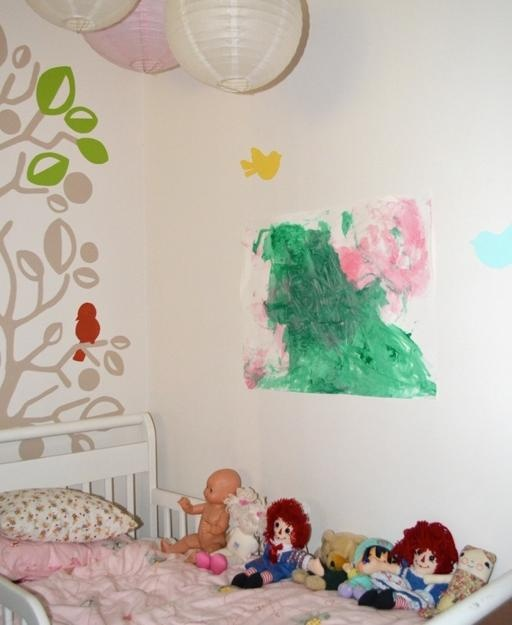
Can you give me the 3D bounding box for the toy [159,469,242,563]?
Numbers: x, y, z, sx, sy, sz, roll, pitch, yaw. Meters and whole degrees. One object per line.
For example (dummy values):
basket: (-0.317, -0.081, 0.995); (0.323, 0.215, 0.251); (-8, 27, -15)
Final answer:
toy: (-0.185, 0.683, 2.175); (0.324, 0.370, 0.233); (2, 4, -19)
